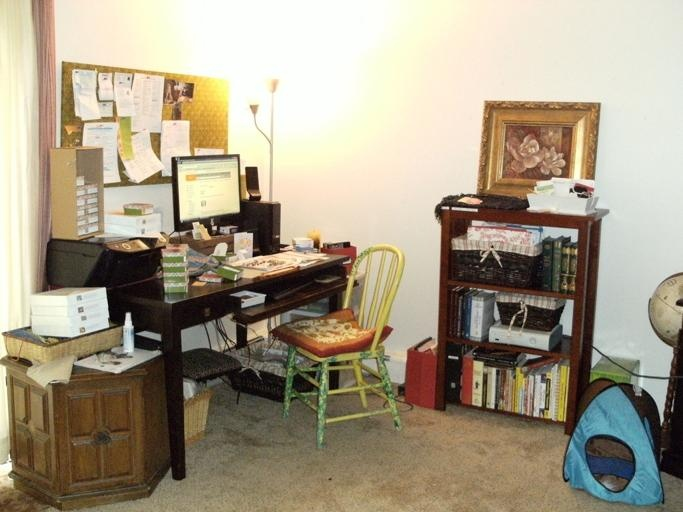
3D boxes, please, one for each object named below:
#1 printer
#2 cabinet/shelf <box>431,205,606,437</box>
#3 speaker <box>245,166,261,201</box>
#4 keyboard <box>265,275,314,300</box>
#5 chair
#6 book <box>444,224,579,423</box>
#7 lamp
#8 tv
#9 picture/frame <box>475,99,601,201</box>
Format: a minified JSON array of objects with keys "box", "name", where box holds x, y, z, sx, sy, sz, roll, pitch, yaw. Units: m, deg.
[{"box":[-1.215,0.024,2.768,0.325,0.170,0.364,3,7,18],"name":"printer"},{"box":[1.055,0.389,3.258,1.183,1.593,0.672,4,10,24],"name":"cabinet/shelf"},{"box":[-0.610,-0.503,3.782,0.092,0.217,0.271,-1,14,-9],"name":"speaker"},{"box":[-0.289,0.175,3.156,0.069,0.059,0.438,0,6,25],"name":"keyboard"},{"box":[-0.027,0.482,3.206,0.794,0.982,0.709,1,8,5],"name":"chair"},{"box":[1.002,0.369,3.358,0.841,1.104,0.330,7,15,21],"name":"book"},{"box":[-0.559,-0.833,4.019,0.218,0.888,0.367,0,14,-7],"name":"lamp"},{"box":[-0.838,-0.390,3.350,0.063,0.338,0.480,8,14,35],"name":"tv"},{"box":[1.226,-0.658,3.371,0.695,0.575,0.056,3,3,27],"name":"picture/frame"}]
